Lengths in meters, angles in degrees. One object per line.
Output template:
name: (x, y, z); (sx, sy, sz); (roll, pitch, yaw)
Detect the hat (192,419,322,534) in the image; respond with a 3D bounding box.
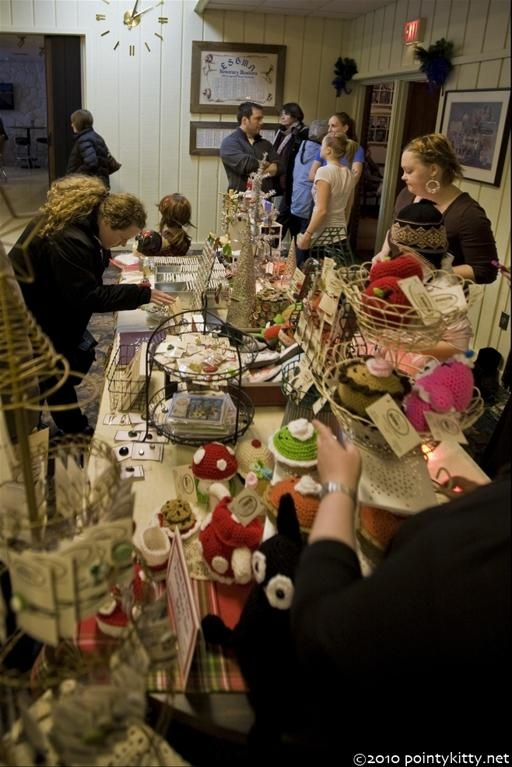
hat: (-0.001, 0.257, 1.381); (0.255, 0.110, 0.327); (-7, 18, -7)

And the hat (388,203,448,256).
hat: (0.472, -0.445, 1.451); (0.128, 0.104, 0.168); (3, 24, 8)

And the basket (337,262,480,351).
basket: (0.322, -0.152, 1.107); (0.263, 0.129, 0.280); (6, 25, 15)

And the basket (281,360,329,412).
basket: (0.144, -0.002, 1.598); (0.052, 0.156, 0.156); (-1, 34, -35)

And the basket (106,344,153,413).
basket: (-0.533, -0.017, 2.149); (0.111, 0.101, 0.286); (-2, 31, -8)

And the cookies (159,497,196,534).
cookies: (-0.218, 0.368, 1.408); (0.107, 0.049, 0.101); (-2, 26, -17)

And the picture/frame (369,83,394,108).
picture/frame: (1.924, -4.422, 7.793); (0.383, 0.322, 0.123); (-2, 25, -17)
